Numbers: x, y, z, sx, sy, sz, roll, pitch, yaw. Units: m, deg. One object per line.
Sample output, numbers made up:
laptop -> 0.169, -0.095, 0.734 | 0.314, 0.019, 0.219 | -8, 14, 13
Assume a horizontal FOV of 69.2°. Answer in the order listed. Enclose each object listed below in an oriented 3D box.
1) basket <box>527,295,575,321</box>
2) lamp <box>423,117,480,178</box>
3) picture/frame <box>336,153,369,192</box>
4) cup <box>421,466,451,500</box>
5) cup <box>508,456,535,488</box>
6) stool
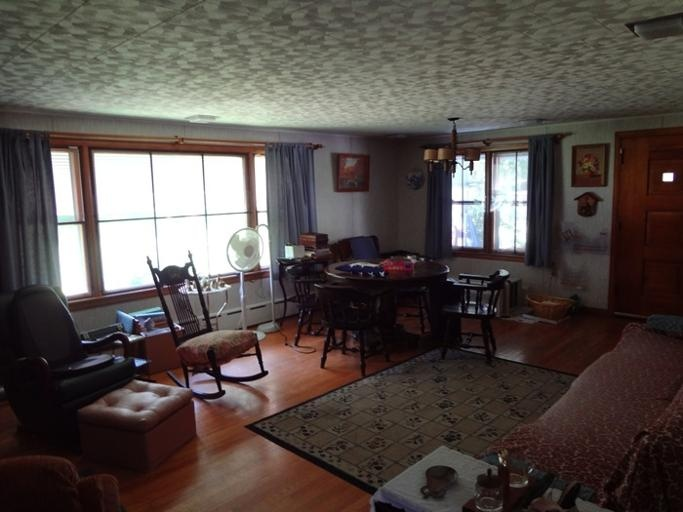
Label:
basket -> 2.814, 0.667, 6.488 | 0.415, 0.139, 0.336 | -2, 5, -17
lamp -> 1.366, -1.329, 5.951 | 0.704, 0.612, 0.685 | 3, 14, 18
picture/frame -> 0.189, -1.272, 7.570 | 0.724, 0.580, 0.076 | 9, 12, 42
cup -> 0.488, 1.115, 2.456 | 0.137, 0.079, 0.176 | 3, 14, 25
cup -> 0.903, 1.066, 2.475 | 0.124, 0.094, 0.129 | 0, -4, 0
stool -> -1.523, 1.262, 3.800 | 0.612, 0.352, 0.603 | 3, 7, 25
